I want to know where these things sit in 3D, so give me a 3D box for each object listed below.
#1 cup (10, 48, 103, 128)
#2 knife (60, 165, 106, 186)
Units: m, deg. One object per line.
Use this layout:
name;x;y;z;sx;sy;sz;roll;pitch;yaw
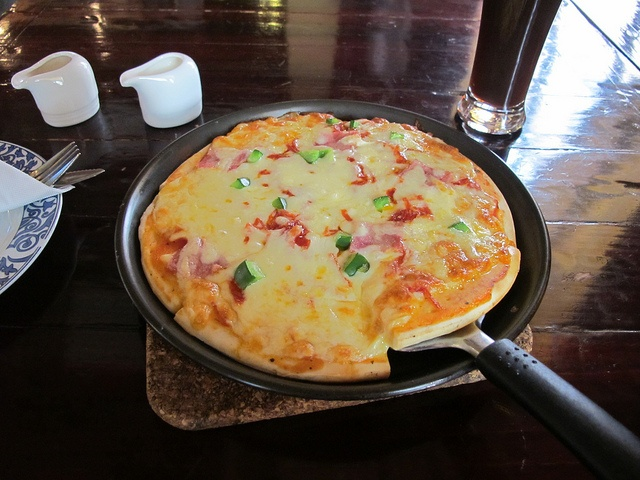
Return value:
cup;-0.970;-0.606;2.218;0.418;0.268;0.255;-5;51;-12
knife;-0.828;-0.213;1.866;0.197;0.038;0.054;-11;50;-20
